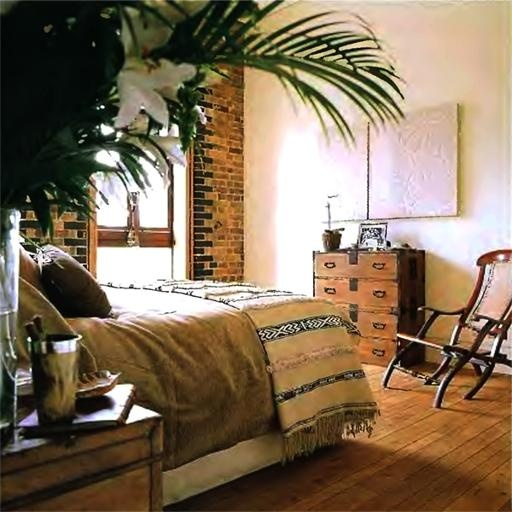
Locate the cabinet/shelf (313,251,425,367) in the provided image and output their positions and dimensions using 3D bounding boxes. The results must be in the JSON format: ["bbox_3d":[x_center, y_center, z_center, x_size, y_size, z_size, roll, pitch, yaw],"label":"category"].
[{"bbox_3d":[0.953,0.425,3.719,0.580,1.004,0.991,1,-2,-39],"label":"cabinet/shelf"}]

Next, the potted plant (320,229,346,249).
[{"bbox_3d":[0.751,-0.163,4.700,0.212,0.231,0.191,1,0,8],"label":"potted plant"}]

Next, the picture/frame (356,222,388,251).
[{"bbox_3d":[1.118,-0.179,4.535,0.033,0.313,0.293,11,-8,-38],"label":"picture/frame"}]

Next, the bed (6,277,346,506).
[{"bbox_3d":[-0.455,0.501,2.016,0.799,0.691,1.112,-1,1,-37],"label":"bed"}]
